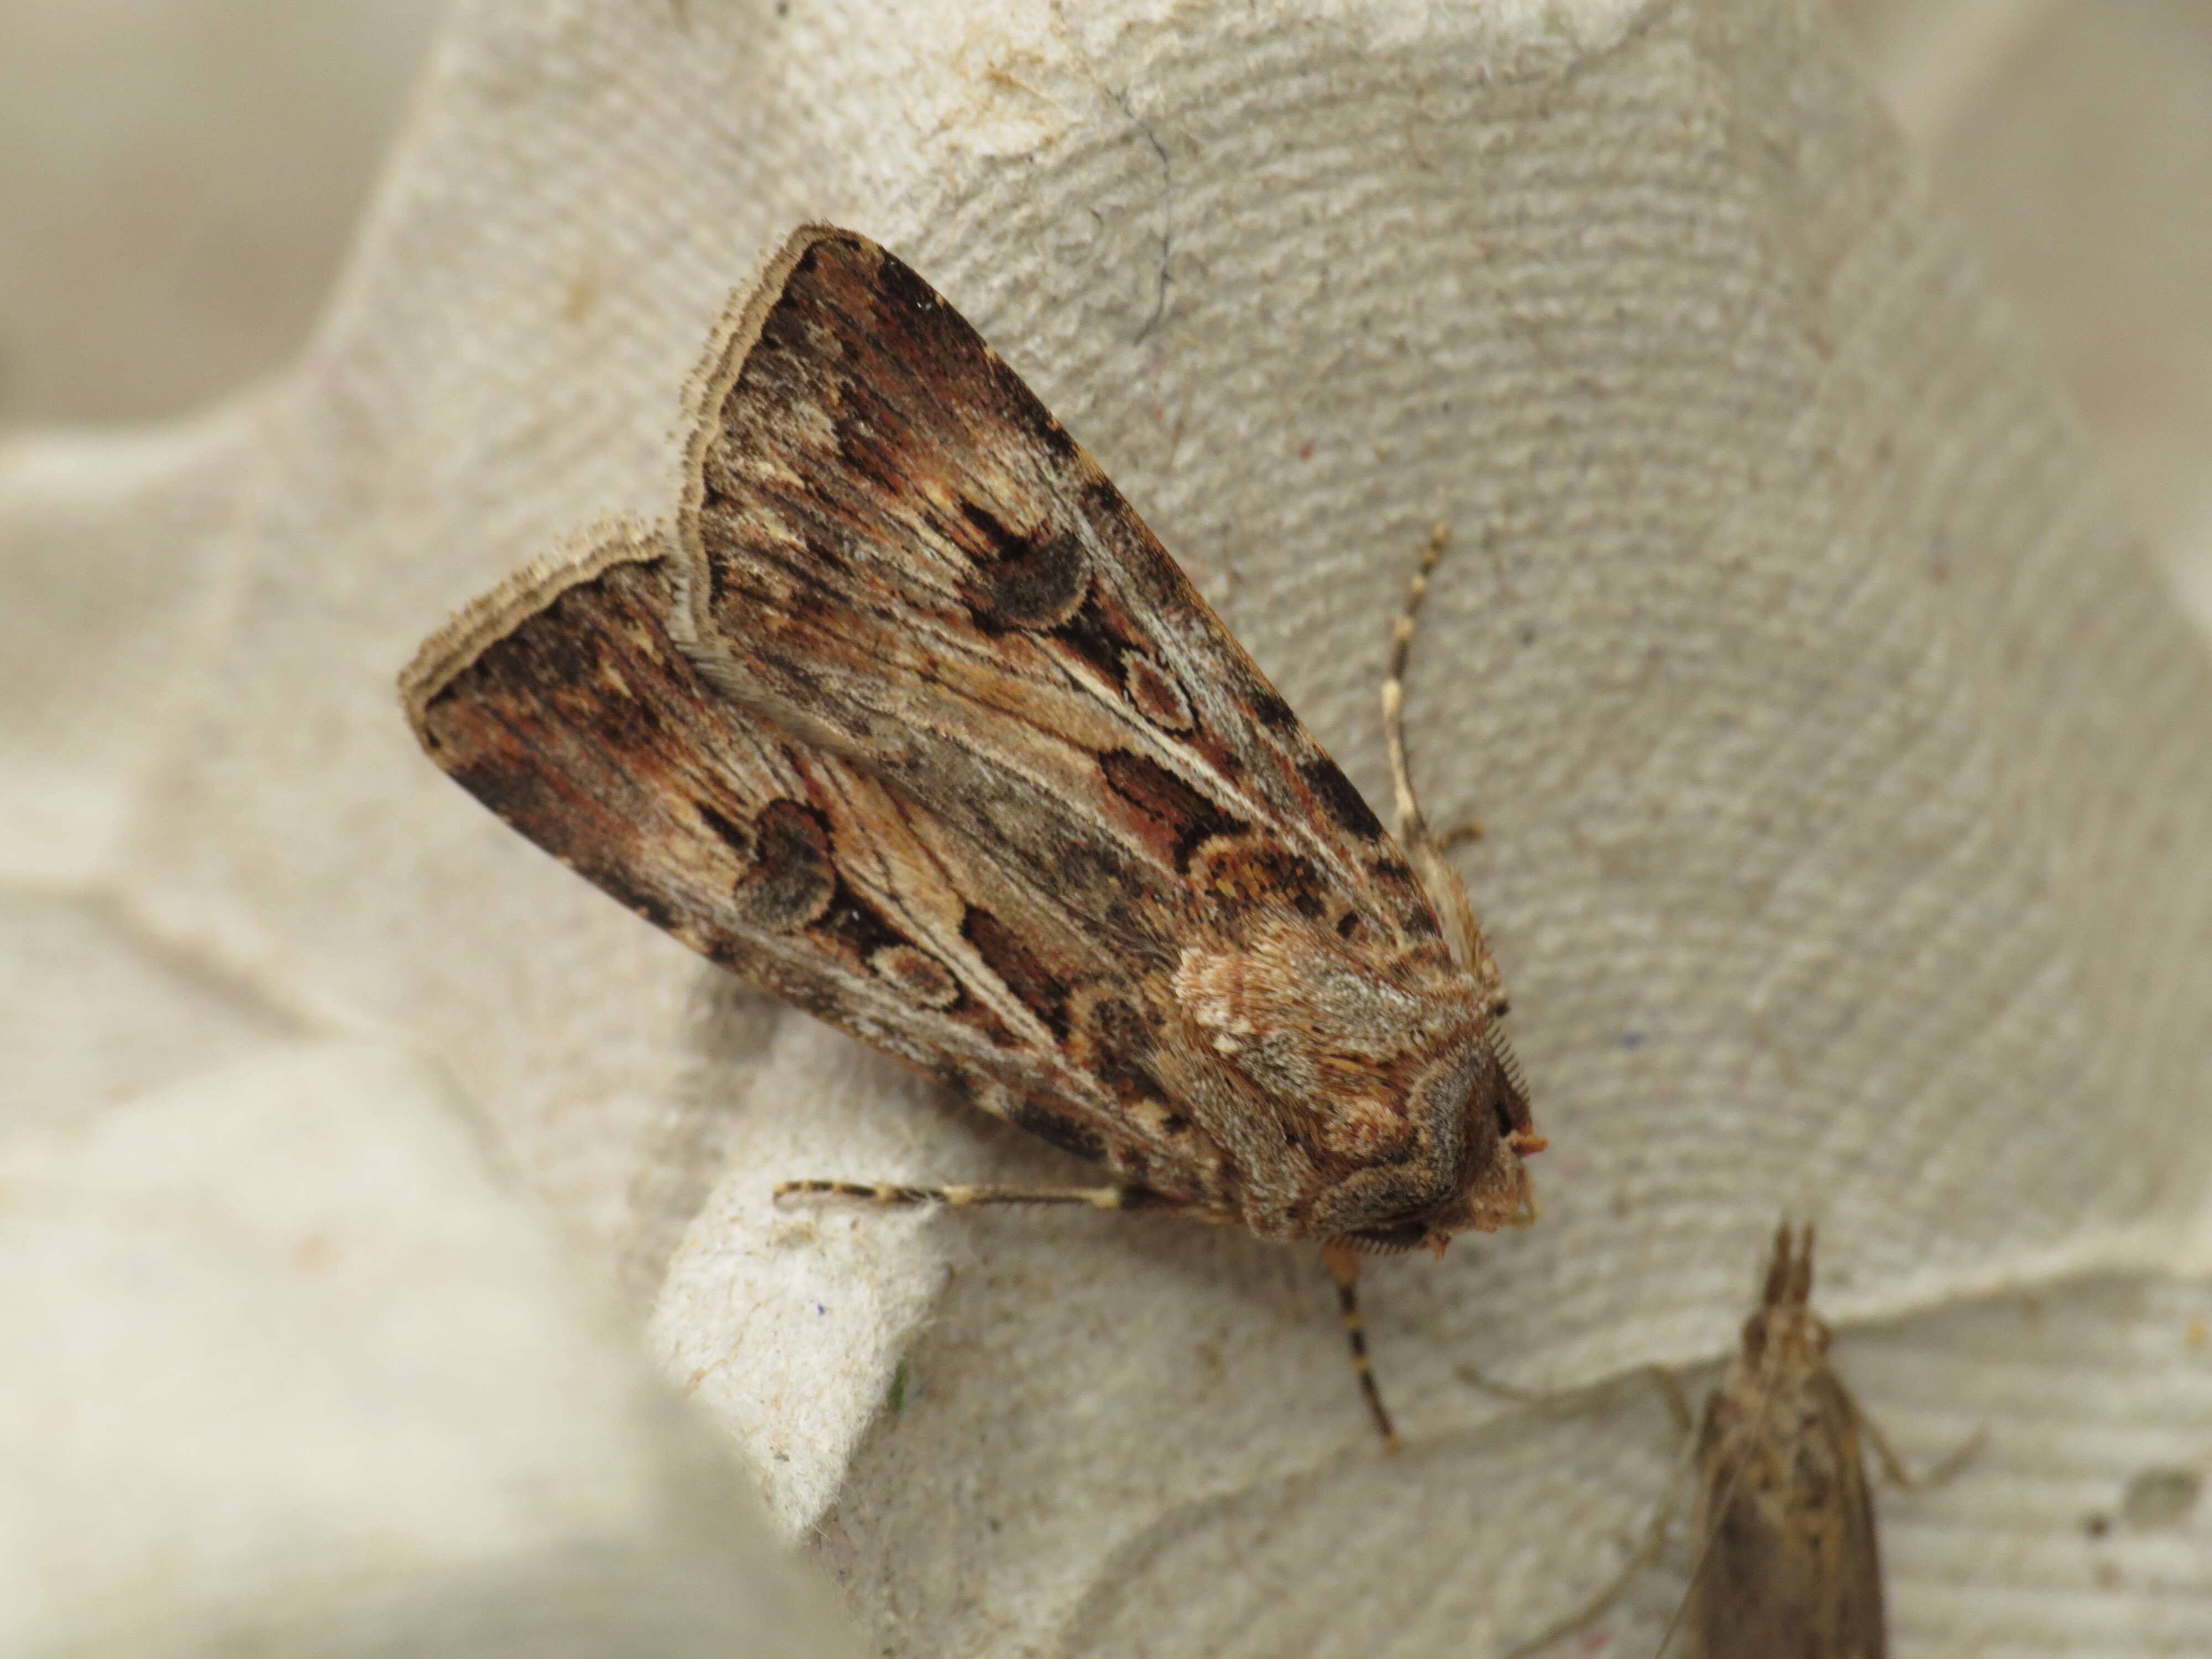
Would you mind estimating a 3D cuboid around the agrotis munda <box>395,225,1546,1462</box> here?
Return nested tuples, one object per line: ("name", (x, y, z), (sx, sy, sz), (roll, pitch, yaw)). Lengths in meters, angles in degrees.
("agrotis munda", (0.026, 0.018, 3.121), (1.173, 0.315, 0.800), (36, -71, -8))
